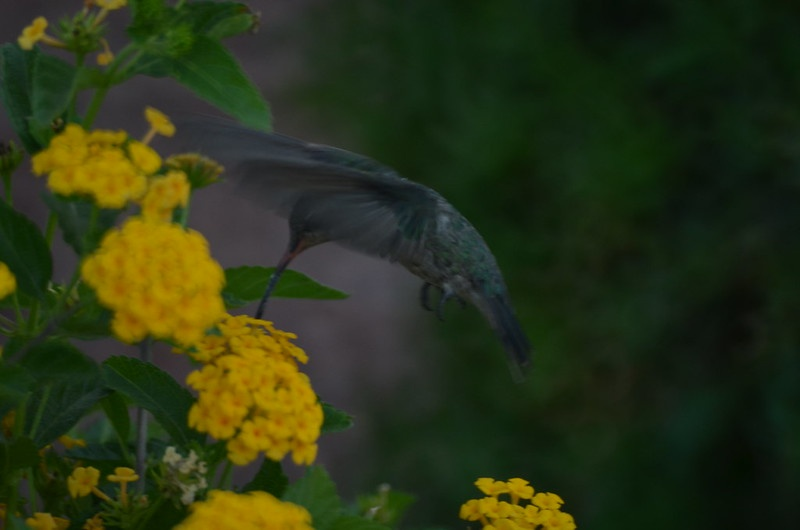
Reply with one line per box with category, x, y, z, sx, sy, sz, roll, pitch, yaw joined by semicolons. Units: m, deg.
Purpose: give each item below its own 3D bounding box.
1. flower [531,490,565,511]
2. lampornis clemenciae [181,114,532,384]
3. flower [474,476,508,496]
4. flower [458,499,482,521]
flower;0.311;0.507;2.535;0.041;0.043;0.017;12;-67;15
lampornis clemenciae;-0.111;-0.101;2.867;0.724;0.505;0.475;-7;-70;-19
flower;0.193;0.470;2.543;0.042;0.041;0.019;9;-95;-18
flower;0.150;0.508;2.500;0.042;0.043;0.017;-31;-61;9
